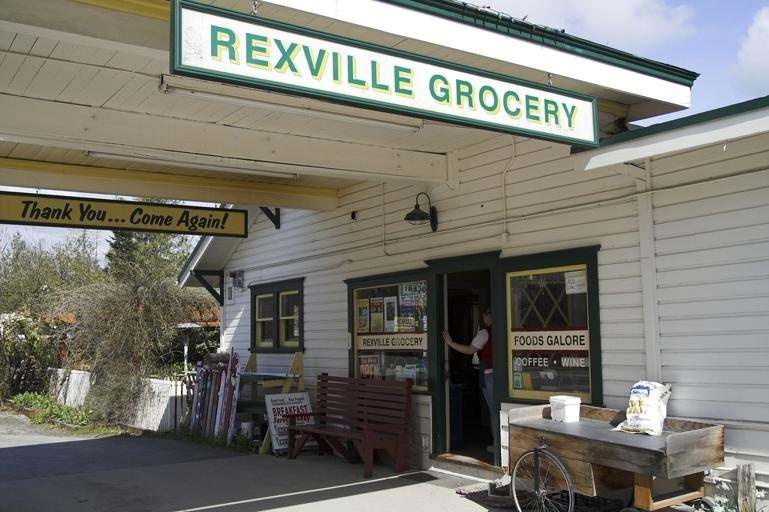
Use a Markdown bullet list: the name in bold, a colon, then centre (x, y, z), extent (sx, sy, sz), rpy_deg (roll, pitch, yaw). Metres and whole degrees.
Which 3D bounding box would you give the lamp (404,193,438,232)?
- **lamp**: centre (0.573, -0.701, 9.829), extent (0.484, 0.635, 0.434), rpy_deg (-3, 8, -13)

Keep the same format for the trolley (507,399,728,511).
- **trolley**: centre (2.556, 2.360, 6.912), extent (2.144, 1.175, 1.258), rpy_deg (-6, -5, 42)

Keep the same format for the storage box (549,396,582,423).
- **storage box**: centre (2.173, 1.836, 7.423), extent (0.278, 0.244, 0.325), rpy_deg (3, -3, -31)

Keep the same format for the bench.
- **bench**: centre (-0.681, 2.786, 10.080), extent (0.839, 1.338, 2.312), rpy_deg (6, -10, -41)
